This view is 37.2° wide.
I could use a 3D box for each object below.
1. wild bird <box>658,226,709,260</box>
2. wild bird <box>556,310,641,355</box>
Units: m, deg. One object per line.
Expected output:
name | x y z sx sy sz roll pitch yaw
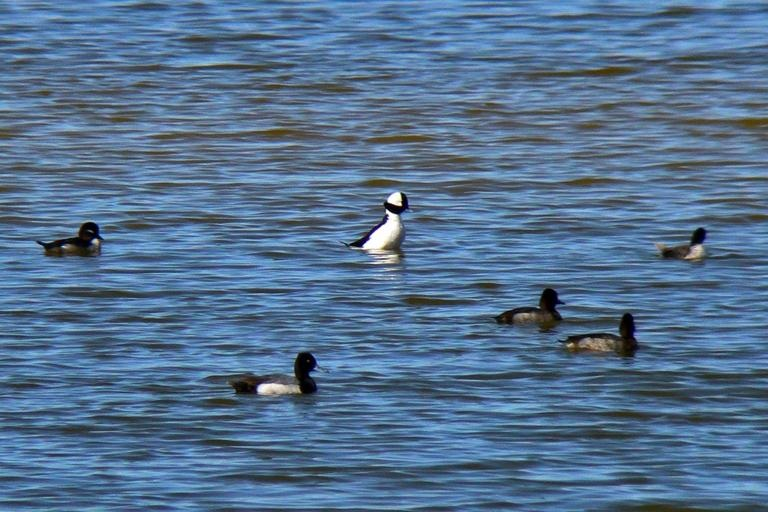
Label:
wild bird | 6.479 -0.130 24.839 1.013 1.013 0.615 -1 71 4
wild bird | 3.724 1.394 19.575 1.391 0.659 0.515 -2 98 32
